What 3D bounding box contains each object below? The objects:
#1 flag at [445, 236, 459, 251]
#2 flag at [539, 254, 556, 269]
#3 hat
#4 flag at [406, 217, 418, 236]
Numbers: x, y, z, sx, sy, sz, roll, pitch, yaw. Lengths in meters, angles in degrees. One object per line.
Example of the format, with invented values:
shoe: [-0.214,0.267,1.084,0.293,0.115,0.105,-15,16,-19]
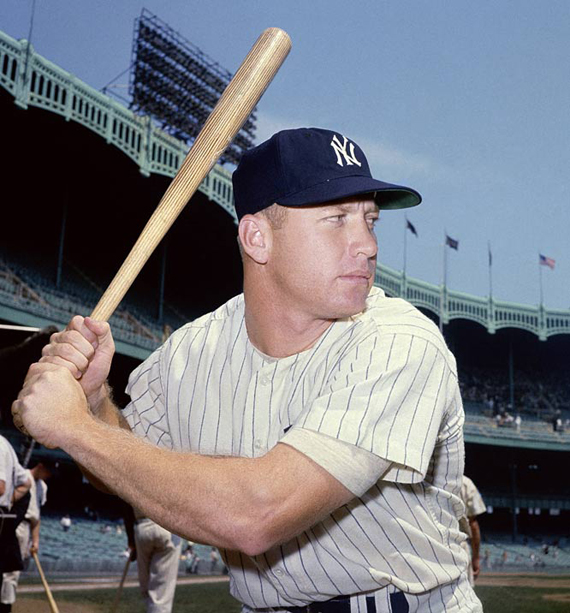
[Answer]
flag: [4.596,-1.768,25.674,0.319,0.288,0.035,26,-35,-31]
flag: [7.259,-1.292,25.794,0.470,0.352,0.369,0,-15,8]
hat: [0.127,-0.391,3.172,0.499,0.259,0.331,-8,-6,31]
flag: [3.399,-2.123,24.782,0.554,0.171,0.177,48,13,-22]
